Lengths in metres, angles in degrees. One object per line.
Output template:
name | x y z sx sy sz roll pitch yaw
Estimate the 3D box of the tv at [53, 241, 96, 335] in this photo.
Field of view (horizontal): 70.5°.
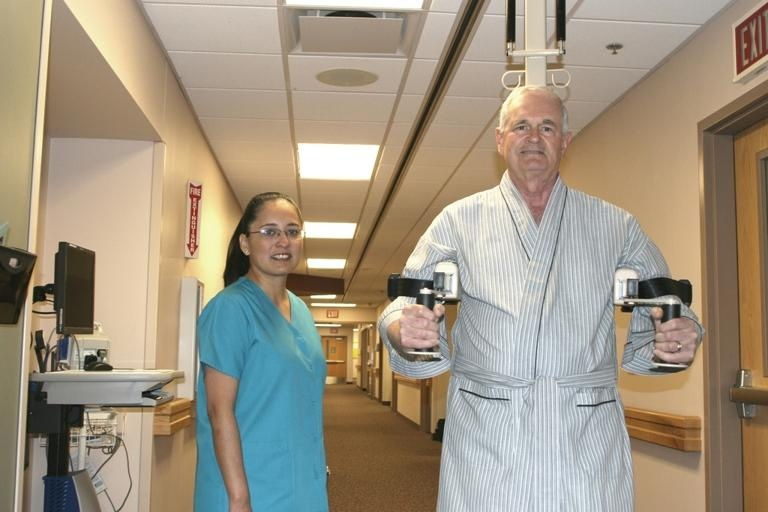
tv | -1.651 0.187 2.919 0.124 0.469 0.450 1 -7 -16
